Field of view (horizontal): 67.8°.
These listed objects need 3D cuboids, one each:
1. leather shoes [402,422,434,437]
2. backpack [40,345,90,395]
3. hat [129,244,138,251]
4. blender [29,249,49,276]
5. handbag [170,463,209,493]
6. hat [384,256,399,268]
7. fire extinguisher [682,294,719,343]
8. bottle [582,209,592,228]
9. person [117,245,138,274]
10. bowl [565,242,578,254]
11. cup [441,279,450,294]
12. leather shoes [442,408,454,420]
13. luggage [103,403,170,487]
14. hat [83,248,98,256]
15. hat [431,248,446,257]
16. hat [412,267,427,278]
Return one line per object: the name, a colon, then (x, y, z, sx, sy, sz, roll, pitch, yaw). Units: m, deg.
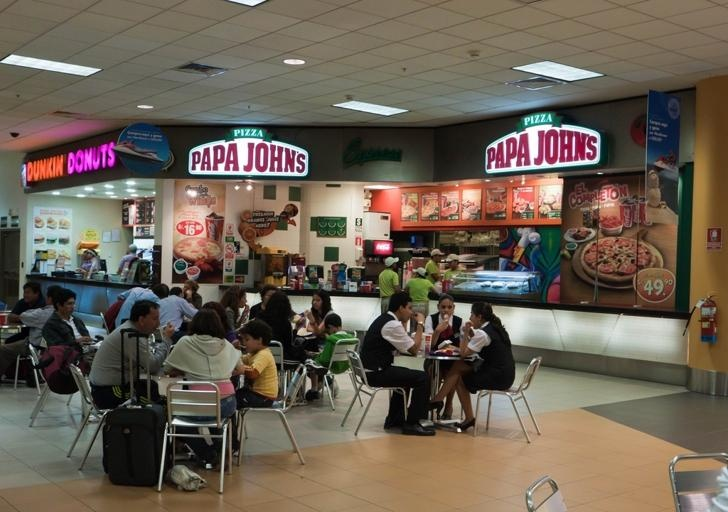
leather shoes: (0.620, 2.041, 6.332, 0.416, 0.129, 0.135, 0, -1, 2)
backpack: (-3.393, 1.257, 6.225, 0.519, 0.526, 0.546, 6, 5, 3)
hat: (-5.854, -0.188, 13.821, 0.225, 0.193, 0.267, 2, 10, -23)
blender: (-9.722, 0.212, 16.293, 0.422, 0.727, 0.611, 1, 2, -29)
handbag: (-1.549, 1.946, 4.735, 0.261, 0.078, 0.193, 17, 17, 33)
hat: (0.596, 0.140, 11.676, 0.200, 0.117, 0.304, 6, 22, 44)
fire extinguisher: (5.236, 0.988, 8.465, 0.243, 0.606, 0.407, 1, 2, -26)
bottle: (4.428, -0.737, 10.724, 0.020, 0.248, 0.233, 1, 2, -42)
person: (-6.070, 0.104, 13.989, 0.399, 0.762, 1.455, 1, 1, -23)
bowl: (4.157, -0.144, 10.904, 0.254, 0.138, 0.223, -1, 2, -5)
cup: (1.747, 0.645, 11.392, 0.163, 0.271, 0.373, 2, 1, 2)
leather shoes: (1.057, 2.006, 6.837, 0.170, 0.101, 0.410, -1, -8, 8)
luggage: (-1.976, 1.715, 4.916, 0.633, 0.643, 0.474, -9, -8, 31)
hat: (-8.370, -0.076, 16.677, 0.338, 0.337, 0.393, 0, -16, -21)
hat: (1.644, -0.058, 11.681, 0.306, 0.137, 0.176, -2, 4, -12)
hat: (1.152, 0.364, 11.269, 0.275, 0.218, 0.199, -24, -5, 25)
